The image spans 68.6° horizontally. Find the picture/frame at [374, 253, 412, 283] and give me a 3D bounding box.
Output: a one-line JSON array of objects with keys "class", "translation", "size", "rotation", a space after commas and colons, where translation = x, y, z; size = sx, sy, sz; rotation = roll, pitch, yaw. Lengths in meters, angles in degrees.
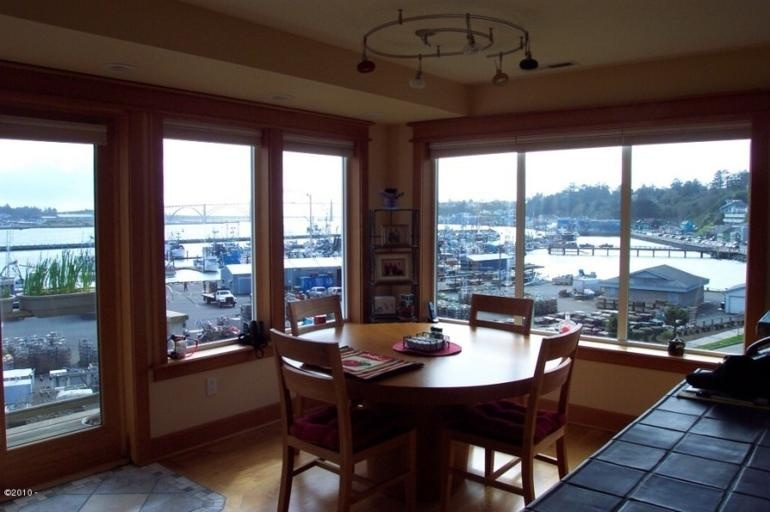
[{"class": "picture/frame", "translation": [0.064, 0.114, 5.301], "size": [0.292, 0.202, 0.022], "rotation": [-1, 1, -7]}]

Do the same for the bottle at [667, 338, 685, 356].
[{"class": "bottle", "translation": [2.317, 0.704, 4.498], "size": [0.126, 0.118, 0.116], "rotation": [-14, 15, -24]}]

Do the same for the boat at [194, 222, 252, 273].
[{"class": "boat", "translation": [-1.350, -0.067, 4.689], "size": [0.209, 0.234, 0.607], "rotation": [-4, 7, -38]}]

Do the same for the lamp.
[{"class": "lamp", "translation": [0.368, -1.501, 4.045], "size": [1.155, 0.359, 1.207], "rotation": [9, 16, 34]}]

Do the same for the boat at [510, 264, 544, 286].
[{"class": "boat", "translation": [1.308, 0.175, 5.096], "size": [0.203, 0.202, 0.075], "rotation": [16, 9, 24]}]

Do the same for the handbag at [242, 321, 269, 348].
[{"class": "handbag", "translation": [-1.081, 0.654, 4.705], "size": [0.244, 0.234, 0.170], "rotation": [0, 2, 14]}]
